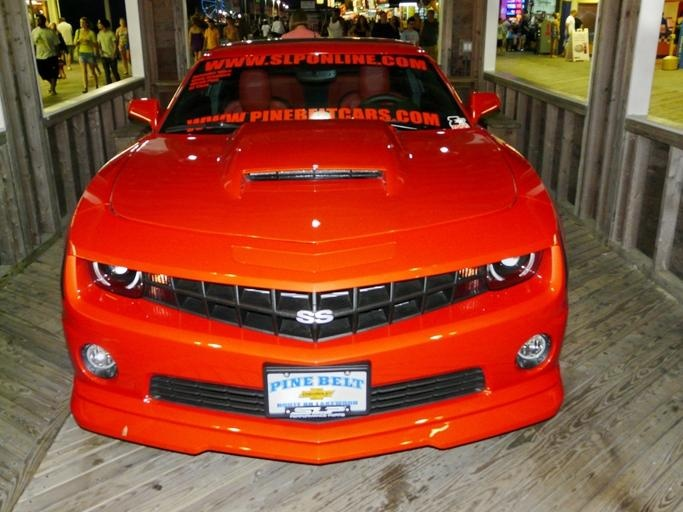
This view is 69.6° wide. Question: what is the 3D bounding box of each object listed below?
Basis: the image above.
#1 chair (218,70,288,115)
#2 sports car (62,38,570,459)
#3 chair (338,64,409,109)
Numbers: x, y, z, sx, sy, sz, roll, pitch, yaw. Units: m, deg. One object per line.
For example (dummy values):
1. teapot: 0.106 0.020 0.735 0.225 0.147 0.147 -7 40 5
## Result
1. chair: -0.693 -1.177 3.638 0.453 0.172 0.548 -15 4 -21
2. sports car: -0.177 -0.717 3.216 2.394 1.397 3.378 -1 34 -2
3. chair: 0.201 -1.211 3.574 0.491 0.380 0.376 0 9 -4
